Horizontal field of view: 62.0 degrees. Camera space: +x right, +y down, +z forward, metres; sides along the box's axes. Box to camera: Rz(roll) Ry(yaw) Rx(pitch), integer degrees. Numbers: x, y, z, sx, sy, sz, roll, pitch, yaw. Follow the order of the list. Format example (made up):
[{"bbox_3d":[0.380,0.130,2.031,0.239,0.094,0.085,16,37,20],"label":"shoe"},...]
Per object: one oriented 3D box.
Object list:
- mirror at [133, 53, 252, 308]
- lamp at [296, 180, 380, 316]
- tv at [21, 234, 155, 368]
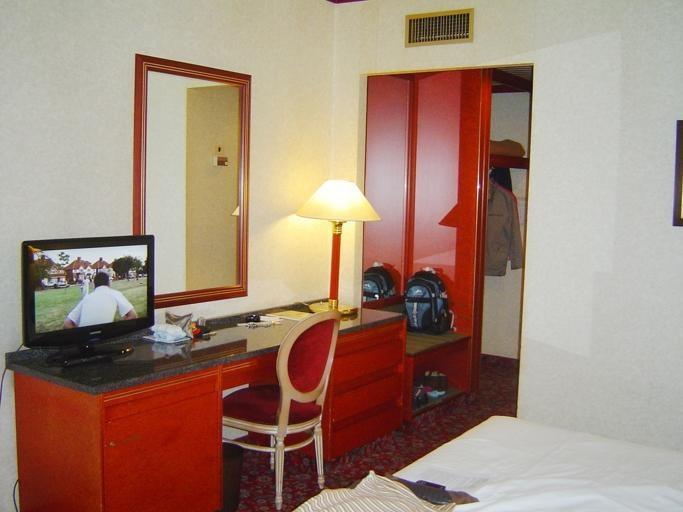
[{"bbox_3d":[-0.828,-0.405,3.263,0.064,1.376,0.802,3,7,43],"label":"mirror"},{"bbox_3d":[-0.033,-0.051,3.835,0.576,0.916,0.580,8,8,35],"label":"lamp"},{"bbox_3d":[-1.199,0.204,2.641,0.166,0.511,0.573,0,2,35],"label":"tv"}]
